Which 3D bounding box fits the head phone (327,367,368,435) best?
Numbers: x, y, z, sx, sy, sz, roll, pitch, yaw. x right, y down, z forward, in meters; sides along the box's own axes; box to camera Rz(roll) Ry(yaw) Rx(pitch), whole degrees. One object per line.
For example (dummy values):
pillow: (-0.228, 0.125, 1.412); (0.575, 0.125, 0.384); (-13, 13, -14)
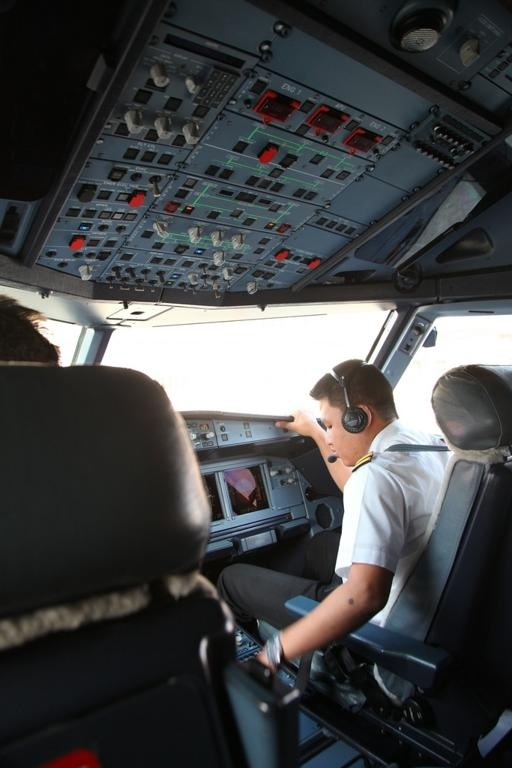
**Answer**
head phone: (0.314, 0.032, 1.876); (0.082, 0.210, 0.222); (-14, 11, 8)
